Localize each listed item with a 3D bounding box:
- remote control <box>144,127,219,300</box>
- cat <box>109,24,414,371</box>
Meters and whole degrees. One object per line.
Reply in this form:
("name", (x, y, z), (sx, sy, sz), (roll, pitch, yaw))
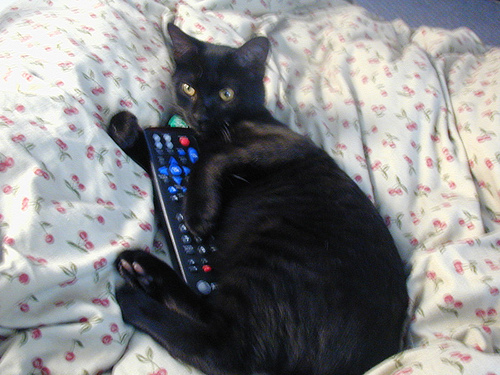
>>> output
("remote control", (-0.201, 0.058, 1.526), (0.156, 0.066, 0.507), (-5, 67, -31))
("cat", (-0.022, 0.119, 1.548), (0.684, 0.246, 0.881), (-10, 59, -24))
